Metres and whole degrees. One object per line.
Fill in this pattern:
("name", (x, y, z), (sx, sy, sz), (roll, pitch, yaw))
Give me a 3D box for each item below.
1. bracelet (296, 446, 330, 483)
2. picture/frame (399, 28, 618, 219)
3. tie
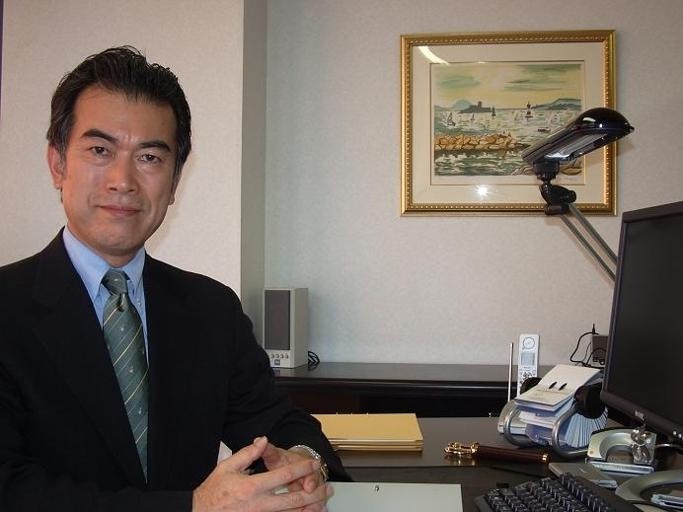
("bracelet", (-0.066, 0.517, 1.470), (0.053, 0.074, 0.133), (-5, 7, -30))
("picture/frame", (0.830, -0.645, 2.831), (1.000, 0.852, 0.049), (0, -6, 3))
("tie", (-0.559, 0.301, 1.505), (0.115, 0.545, 0.083), (6, -24, -45))
